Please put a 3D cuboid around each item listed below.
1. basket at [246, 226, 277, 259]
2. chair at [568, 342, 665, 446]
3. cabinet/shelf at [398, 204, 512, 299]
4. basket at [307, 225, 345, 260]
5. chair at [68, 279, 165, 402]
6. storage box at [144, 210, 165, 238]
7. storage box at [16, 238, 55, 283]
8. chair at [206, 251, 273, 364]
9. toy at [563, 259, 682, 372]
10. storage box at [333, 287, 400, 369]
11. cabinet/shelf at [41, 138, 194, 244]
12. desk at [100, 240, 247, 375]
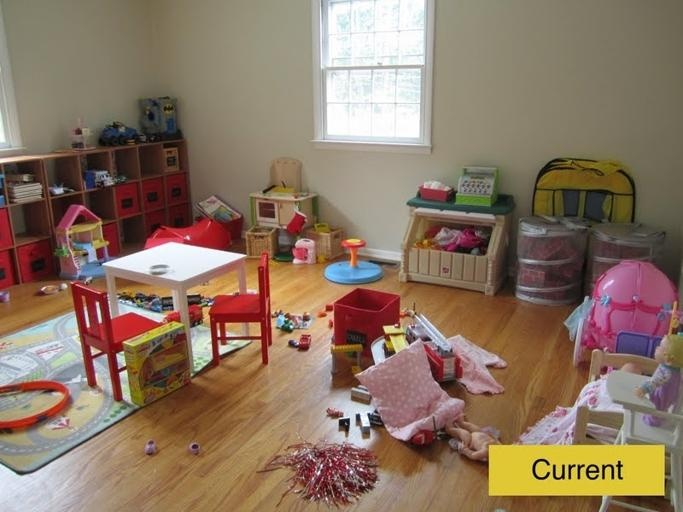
[{"bbox_3d":[-0.884,-0.169,5.457,0.397,0.389,0.399,1,7,2],"label":"basket"},{"bbox_3d":[1.402,0.691,2.495,0.340,0.267,0.623,5,18,28],"label":"chair"},{"bbox_3d":[1.136,-0.118,4.659,0.981,0.754,0.586,11,18,38],"label":"cabinet/shelf"},{"bbox_3d":[-0.187,-0.154,5.419,0.364,0.299,0.361,-15,24,-43],"label":"basket"},{"bbox_3d":[-1.454,0.487,3.114,0.538,0.685,0.372,11,22,30],"label":"chair"},{"bbox_3d":[-2.207,-0.372,5.642,0.193,0.272,0.282,8,18,22],"label":"storage box"},{"bbox_3d":[-3.082,0.054,4.815,0.249,0.324,0.329,11,20,42],"label":"storage box"},{"bbox_3d":[-0.770,0.408,3.566,0.494,0.869,0.525,3,18,0],"label":"chair"},{"bbox_3d":[1.881,0.379,3.500,0.628,0.722,0.792,13,5,19],"label":"toy"},{"bbox_3d":[0.146,0.426,3.435,0.487,0.495,0.512,7,13,33],"label":"storage box"},{"bbox_3d":[-2.534,-0.683,5.730,1.558,1.159,0.464,-19,18,-28],"label":"cabinet/shelf"},{"bbox_3d":[-1.146,0.397,3.592,1.003,0.749,0.798,10,22,28],"label":"desk"}]
